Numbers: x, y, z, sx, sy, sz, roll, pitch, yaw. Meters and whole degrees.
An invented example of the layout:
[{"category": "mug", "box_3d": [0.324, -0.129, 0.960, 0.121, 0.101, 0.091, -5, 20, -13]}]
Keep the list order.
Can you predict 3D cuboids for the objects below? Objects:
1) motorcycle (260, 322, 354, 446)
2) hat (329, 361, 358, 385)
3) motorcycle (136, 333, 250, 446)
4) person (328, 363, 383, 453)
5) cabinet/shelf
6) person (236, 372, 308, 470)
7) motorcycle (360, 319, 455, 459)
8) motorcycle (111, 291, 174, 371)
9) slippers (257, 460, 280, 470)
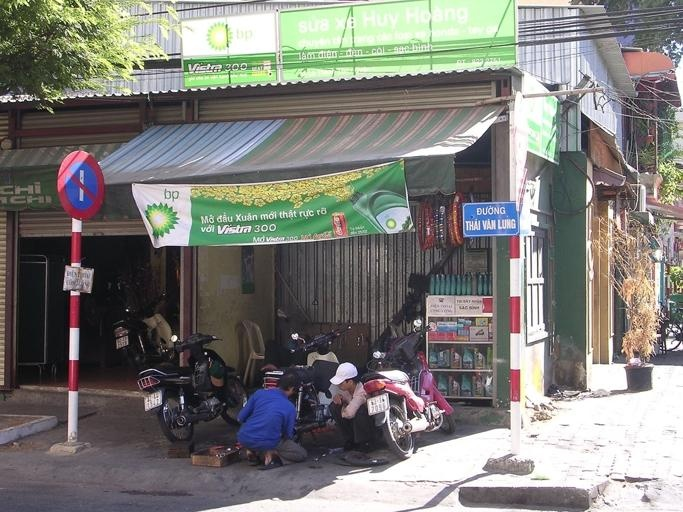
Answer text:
[{"category": "motorcycle", "box_3d": [-0.496, 1.997, 17.106, 0.886, 1.348, 2.003, -2, 1, 18]}, {"category": "hat", "box_3d": [0.049, 1.739, 15.782, 0.368, 0.237, 0.255, -11, 11, -32]}, {"category": "motorcycle", "box_3d": [-2.365, 2.079, 16.853, 0.765, 1.735, 2.539, -21, -7, 26]}, {"category": "person", "box_3d": [0.160, 2.280, 15.804, 0.609, 1.280, 0.671, -8, 4, -19]}, {"category": "cabinet/shelf", "box_3d": [2.002, 1.604, 17.228, 1.431, 2.672, 0.702, -1, -5, 8]}, {"category": "person", "box_3d": [-1.006, 2.431, 15.603, 0.903, 1.458, 0.794, 10, -4, 18]}, {"category": "motorcycle", "box_3d": [0.978, 2.048, 15.918, 1.027, 1.906, 1.799, -5, -4, 21]}, {"category": "motorcycle", "box_3d": [-3.807, 1.575, 20.863, 0.697, 1.251, 1.817, -20, -12, 25]}, {"category": "slippers", "box_3d": [-1.081, 3.035, 15.201, 0.364, 0.178, 0.119, 1, 6, -15]}]
